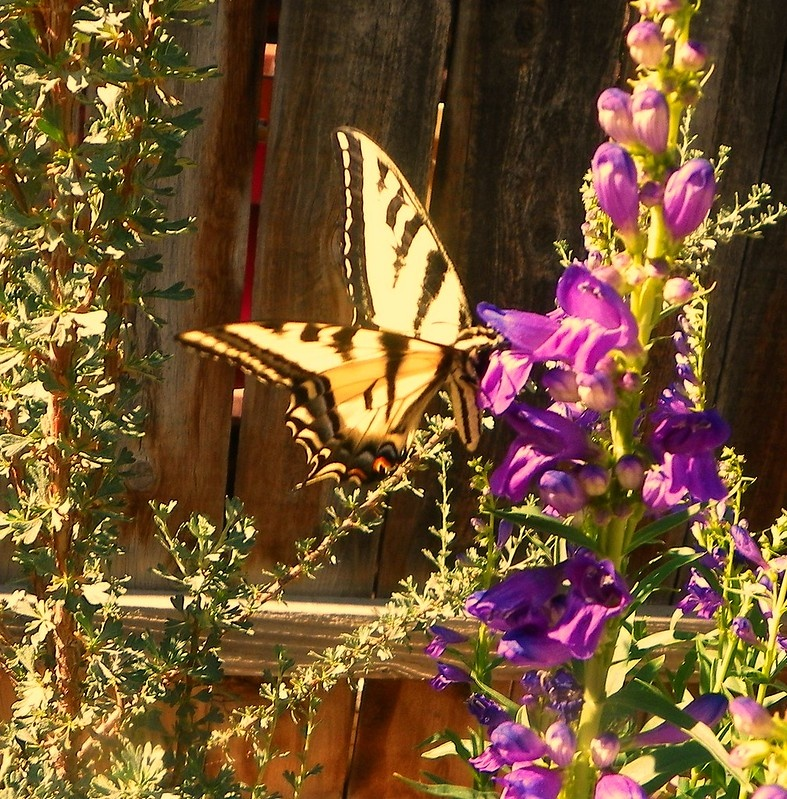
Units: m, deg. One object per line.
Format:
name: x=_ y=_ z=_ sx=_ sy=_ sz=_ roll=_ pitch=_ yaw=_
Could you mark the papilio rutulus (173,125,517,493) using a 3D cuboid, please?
papilio rutulus: x=-0.067 y=-0.162 z=2.994 sx=0.645 sy=0.722 sz=0.782 roll=4 pitch=-7 yaw=-1
